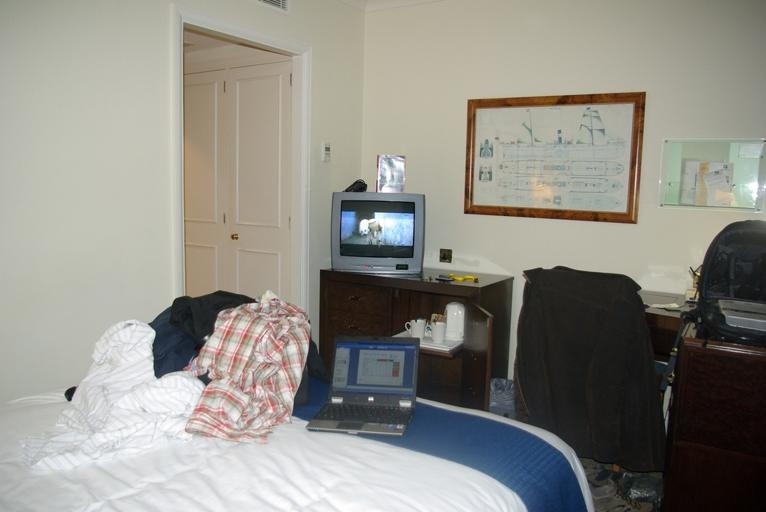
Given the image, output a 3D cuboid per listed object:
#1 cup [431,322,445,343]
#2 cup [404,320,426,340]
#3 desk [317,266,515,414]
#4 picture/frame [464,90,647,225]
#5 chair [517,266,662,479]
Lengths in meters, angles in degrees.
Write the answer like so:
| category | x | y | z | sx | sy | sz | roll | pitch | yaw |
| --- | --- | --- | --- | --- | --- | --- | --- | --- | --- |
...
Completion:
| category | x | y | z | sx | sy | sz | roll | pitch | yaw |
| --- | --- | --- | --- | --- | --- | --- | --- | --- | --- |
| cup | 0.378 | 0.520 | 3.574 | 0.086 | 0.135 | 0.138 | -1 | 2 | -20 |
| cup | 0.235 | 0.516 | 3.740 | 0.150 | 0.132 | 0.097 | 1 | 3 | 12 |
| desk | 0.301 | 0.566 | 3.606 | 1.013 | 0.950 | 0.527 | 3 | 3 | 26 |
| picture/frame | 1.432 | -0.808 | 4.181 | 1.129 | 0.821 | 0.039 | 4 | 10 | 23 |
| chair | 1.184 | 0.648 | 3.342 | 1.083 | 1.257 | 0.528 | 18 | 35 | 36 |
